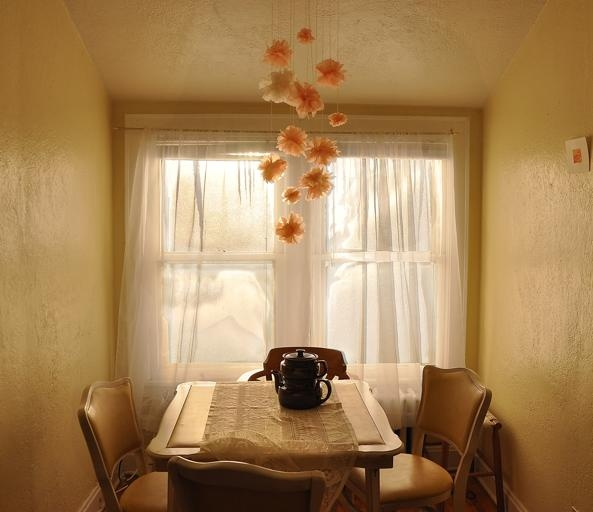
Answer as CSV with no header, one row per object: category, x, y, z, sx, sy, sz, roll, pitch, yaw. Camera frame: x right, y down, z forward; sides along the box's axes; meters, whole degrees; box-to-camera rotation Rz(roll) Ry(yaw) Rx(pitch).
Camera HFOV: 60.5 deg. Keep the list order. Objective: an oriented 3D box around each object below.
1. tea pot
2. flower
tea pot,0.047,0.546,2.319,0.279,0.279,0.201,0,-1,10
flower,0.022,-0.474,2.175,0.464,1.244,0.355,-2,14,-1
